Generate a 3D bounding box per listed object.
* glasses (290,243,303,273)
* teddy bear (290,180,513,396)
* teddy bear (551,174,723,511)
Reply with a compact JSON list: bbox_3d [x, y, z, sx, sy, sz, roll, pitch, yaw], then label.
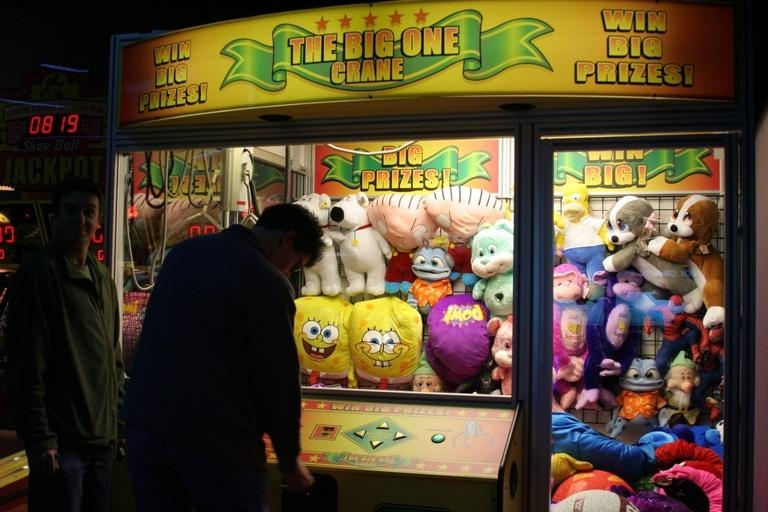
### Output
[{"bbox_3d":[-0.368,0.011,2.941,0.066,0.091,0.096,-3,12,-2],"label":"glasses"},{"bbox_3d":[0.156,0.219,4.015,1.123,1.134,0.470,0,-4,13],"label":"teddy bear"},{"bbox_3d":[1.358,0.467,3.656,0.849,1.733,0.350,1,2,15],"label":"teddy bear"}]
